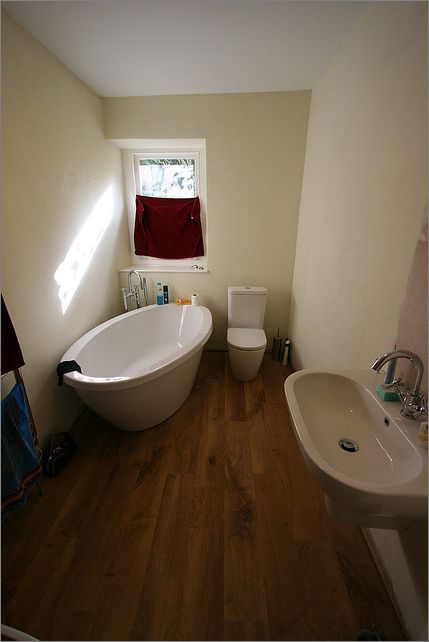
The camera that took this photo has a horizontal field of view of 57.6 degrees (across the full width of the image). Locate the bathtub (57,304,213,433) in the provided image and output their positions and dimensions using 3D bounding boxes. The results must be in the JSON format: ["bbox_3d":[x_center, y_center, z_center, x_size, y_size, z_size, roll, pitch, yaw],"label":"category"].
[{"bbox_3d":[-0.456,0.282,2.702,0.786,0.534,1.492,5,22,8],"label":"bathtub"}]

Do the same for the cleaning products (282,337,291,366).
[{"bbox_3d":[0.613,0.236,3.410,0.062,0.223,0.249,4,20,10],"label":"cleaning products"}]

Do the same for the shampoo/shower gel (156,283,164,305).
[{"bbox_3d":[-0.493,-0.241,3.417,0.064,0.169,0.133,-2,19,-10],"label":"shampoo/shower gel"}]

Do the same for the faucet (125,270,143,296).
[{"bbox_3d":[-0.687,-0.337,3.327,0.123,0.236,0.248,-3,20,-13],"label":"faucet"}]

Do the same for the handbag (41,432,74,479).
[{"bbox_3d":[-0.857,0.735,2.111,0.049,0.151,0.141,8,29,7],"label":"handbag"}]

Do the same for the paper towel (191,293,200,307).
[{"bbox_3d":[-0.177,-0.192,3.307,0.066,0.094,0.073,7,33,16],"label":"paper towel"}]

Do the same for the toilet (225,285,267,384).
[{"bbox_3d":[0.235,0.095,3.127,0.304,0.627,0.618,2,19,3],"label":"toilet"}]

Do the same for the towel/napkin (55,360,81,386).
[{"bbox_3d":[-0.797,0.281,2.119,0.104,0.052,0.134,-1,41,-9],"label":"towel/napkin"}]
